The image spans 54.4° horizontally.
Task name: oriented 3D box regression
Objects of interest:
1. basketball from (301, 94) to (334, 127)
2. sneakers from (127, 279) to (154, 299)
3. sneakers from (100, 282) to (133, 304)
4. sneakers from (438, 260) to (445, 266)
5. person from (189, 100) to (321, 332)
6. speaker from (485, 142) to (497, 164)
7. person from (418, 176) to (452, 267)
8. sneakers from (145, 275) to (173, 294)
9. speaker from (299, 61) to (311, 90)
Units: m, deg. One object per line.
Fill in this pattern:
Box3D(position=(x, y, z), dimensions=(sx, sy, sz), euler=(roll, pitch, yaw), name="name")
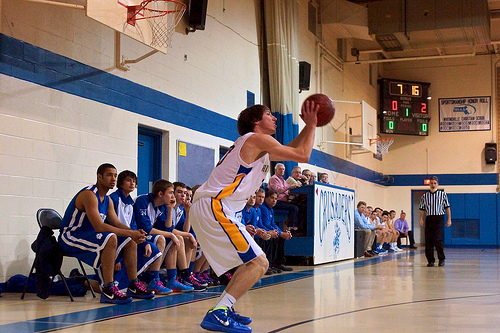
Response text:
Box3D(position=(0.753, -0.604, 5.402), dimensions=(0.356, 0.430, 0.361), euler=(0, 5, 7), name="basketball")
Box3D(position=(-1.468, 1.616, 6.424), dimensions=(0.464, 0.235, 0.175), euler=(5, -5, 13), name="sneakers")
Box3D(position=(-1.727, 1.601, 6.110), dimensions=(0.482, 0.293, 0.192), euler=(0, -9, 7), name="sneakers")
Box3D(position=(4.075, 2.054, 10.314), dimensions=(0.091, 0.130, 0.310), euler=(-8, -23, 20), name="sneakers")
Box3D(position=(-0.030, 0.518, 5.030), dimensions=(1.212, 2.318, 0.285), euler=(-2, -7, 13), name="person")
Box3D(position=(9.828, -0.550, 19.744), dimensions=(0.462, 0.873, 0.419), euler=(-4, -8, 27), name="speaker")
Box3D(position=(3.956, 1.143, 10.320), dimensions=(0.581, 1.875, 0.609), euler=(-3, -8, 18), name="person")
Box3D(position=(-1.245, 1.645, 6.717), dimensions=(0.418, 0.200, 0.152), euler=(21, -5, 9), name="sneakers")
Box3D(position=(1.530, -2.523, 13.550), dimensions=(0.319, 0.803, 0.303), euler=(0, -7, -6), name="speaker")
